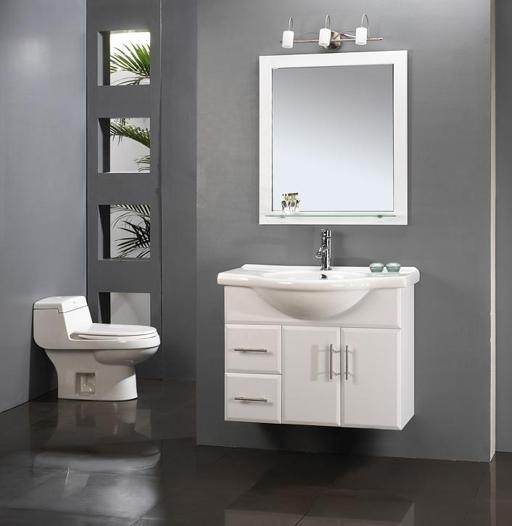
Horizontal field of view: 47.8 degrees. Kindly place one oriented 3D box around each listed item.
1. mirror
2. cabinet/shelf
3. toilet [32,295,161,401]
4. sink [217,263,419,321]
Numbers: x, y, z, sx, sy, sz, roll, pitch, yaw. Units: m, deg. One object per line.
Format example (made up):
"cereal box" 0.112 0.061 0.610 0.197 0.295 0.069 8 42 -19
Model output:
"mirror" 0.352 -0.568 2.589 0.622 0.676 0.029 -4 10 -11
"cabinet/shelf" 0.258 0.366 2.368 0.754 0.537 0.287 -2 0 24
"toilet" -0.966 0.534 3.643 0.748 0.602 0.422 0 1 2
"sink" 0.254 0.118 2.352 0.772 0.183 0.517 1 5 16
